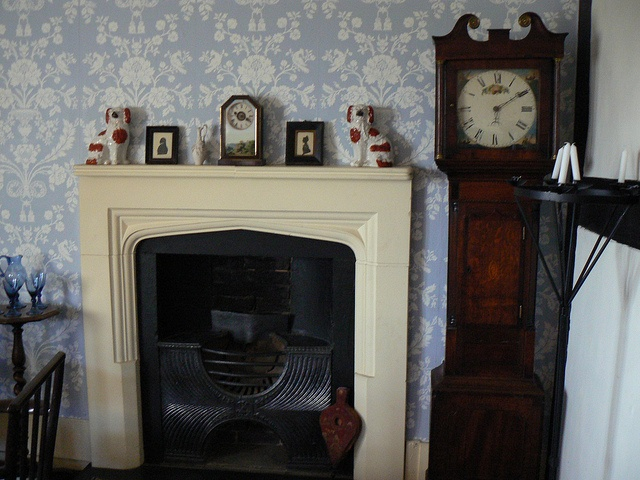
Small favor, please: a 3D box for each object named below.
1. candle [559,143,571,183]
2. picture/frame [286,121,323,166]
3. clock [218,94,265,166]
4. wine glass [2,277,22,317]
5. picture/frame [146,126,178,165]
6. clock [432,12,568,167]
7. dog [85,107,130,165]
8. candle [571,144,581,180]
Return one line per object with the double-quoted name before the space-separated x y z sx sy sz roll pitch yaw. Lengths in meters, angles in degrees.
"candle" 0.950 -0.288 2.433 0.046 0.161 0.195 -1 -2 21
"picture/frame" -0.069 -0.483 3.126 0.190 0.245 0.018 1 4 6
"clock" -0.395 -0.539 3.158 0.217 0.382 0.073 -2 -14 2
"wine glass" -1.590 0.293 3.254 0.091 0.202 0.163 0 -2 -26
"picture/frame" -0.797 -0.485 3.193 0.171 0.226 0.017 1 3 6
"clock" 0.813 -0.635 2.897 0.572 0.846 0.128 2 -15 12
"dog" -1.076 -0.536 3.206 0.261 0.383 0.199 0 2 -3
"candle" 0.991 -0.298 2.435 0.032 0.164 0.238 -1 -2 22
